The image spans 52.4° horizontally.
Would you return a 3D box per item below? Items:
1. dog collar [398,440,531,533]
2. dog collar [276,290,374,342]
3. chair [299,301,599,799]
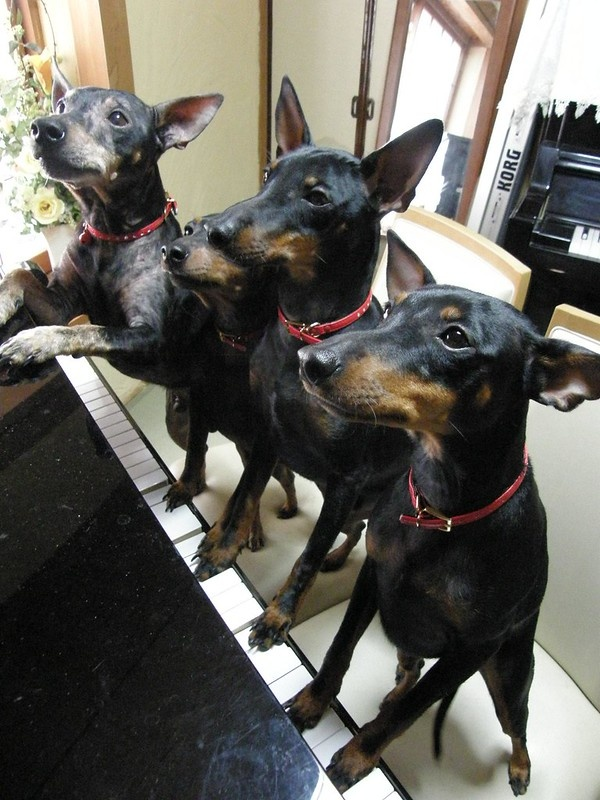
[{"bbox_3d":[0.202,0.103,0.749,0.131,0.041,0.184,-1,25,41],"label":"dog collar"},{"bbox_3d":[0.025,-0.105,0.820,0.092,0.025,0.081,-38,65,0],"label":"dog collar"},{"bbox_3d":[0.126,0.153,0.725,0.350,0.530,0.292,-20,45,-26],"label":"chair"}]
